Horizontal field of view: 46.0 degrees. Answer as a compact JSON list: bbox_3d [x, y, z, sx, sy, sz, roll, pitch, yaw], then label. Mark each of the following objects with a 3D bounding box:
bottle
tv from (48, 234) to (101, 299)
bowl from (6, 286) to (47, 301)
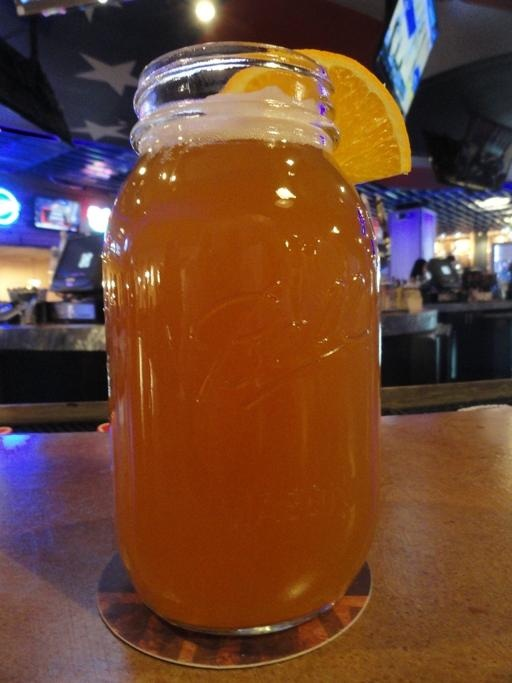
[{"bbox_3d":[-0.006,0.006,0.416,0.167,0.356,0.120,-1,8,3],"label":"bottle"},{"bbox_3d":[-0.896,-0.376,3.175,0.312,0.298,0.183,0,-17,24],"label":"tv"},{"bbox_3d":[-1.184,-0.244,3.110,0.146,0.057,0.137,-3,-2,0],"label":"bowl"}]
